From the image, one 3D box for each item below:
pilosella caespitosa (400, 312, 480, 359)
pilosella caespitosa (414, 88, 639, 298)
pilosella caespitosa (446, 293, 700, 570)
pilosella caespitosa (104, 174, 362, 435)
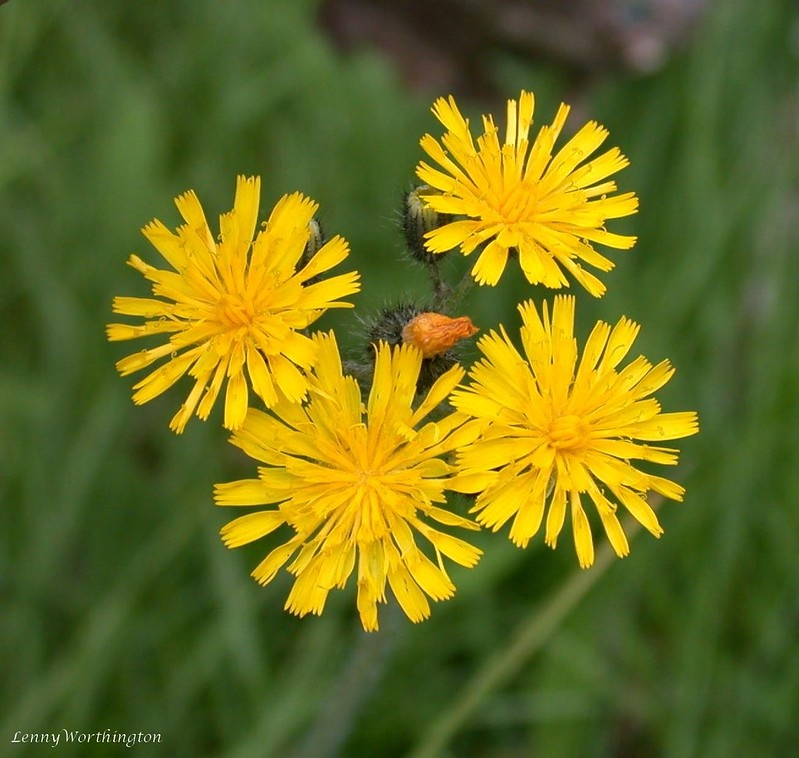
[{"bbox_3d":[0.083,-0.087,1.829,0.141,0.074,0.084,-8,29,10],"label":"pilosella caespitosa"},{"bbox_3d":[0.255,-0.464,1.957,0.499,0.197,0.492,0,-2,-25],"label":"pilosella caespitosa"},{"bbox_3d":[0.375,0.109,1.891,0.638,0.231,0.663,7,20,3],"label":"pilosella caespitosa"},{"bbox_3d":[-0.343,-0.164,1.914,0.590,0.183,0.598,-4,-36,-25],"label":"pilosella caespitosa"}]
